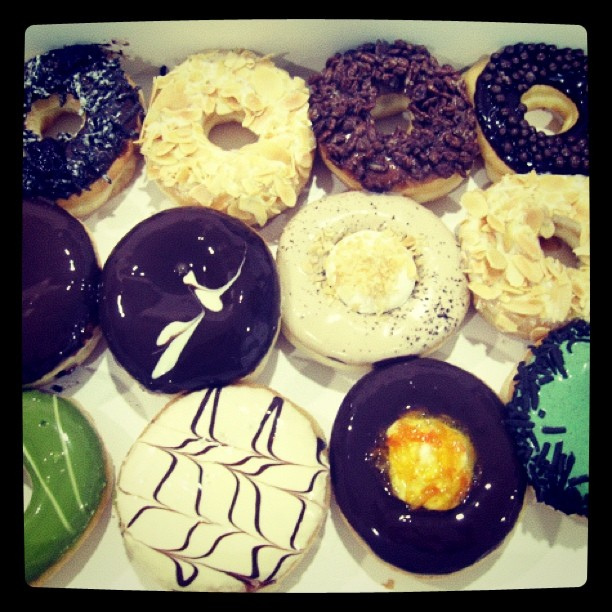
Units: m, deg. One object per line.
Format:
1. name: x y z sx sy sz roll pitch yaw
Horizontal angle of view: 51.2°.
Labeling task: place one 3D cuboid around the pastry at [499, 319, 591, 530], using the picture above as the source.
1. pastry: 0.758 0.336 2.019 0.473 0.157 0.533 0 82 -1

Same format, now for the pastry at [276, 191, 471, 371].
1. pastry: 0.194 -0.063 2.030 0.546 0.193 0.570 -6 79 -3

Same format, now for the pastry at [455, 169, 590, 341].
1. pastry: 0.730 -0.129 2.143 0.476 0.168 0.501 -40 80 -4

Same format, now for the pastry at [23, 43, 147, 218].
1. pastry: -0.732 -0.578 2.134 0.452 0.170 0.515 6 83 -4

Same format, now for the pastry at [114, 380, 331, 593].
1. pastry: -0.252 0.568 1.924 0.565 0.286 0.733 -1 50 -1

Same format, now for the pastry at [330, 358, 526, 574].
1. pastry: 0.353 0.475 1.938 0.556 0.184 0.604 -17 65 -7

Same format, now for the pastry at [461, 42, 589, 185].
1. pastry: 0.717 -0.639 2.030 0.405 0.141 0.426 -11 83 5
